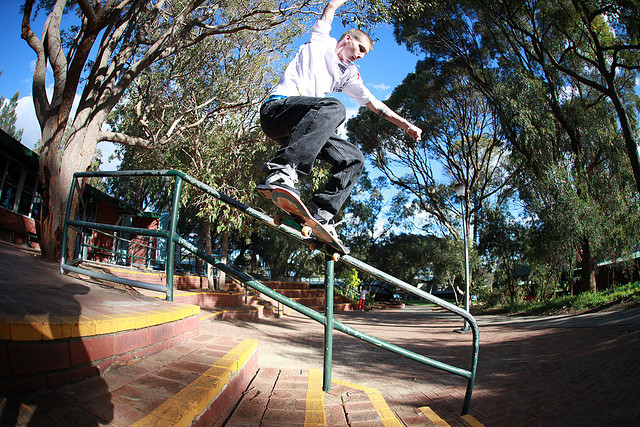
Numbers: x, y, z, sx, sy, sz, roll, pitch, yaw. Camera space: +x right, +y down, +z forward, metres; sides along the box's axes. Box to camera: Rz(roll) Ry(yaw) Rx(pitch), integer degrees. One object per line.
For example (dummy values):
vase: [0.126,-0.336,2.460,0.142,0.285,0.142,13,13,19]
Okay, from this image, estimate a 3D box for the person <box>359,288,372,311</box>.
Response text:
person: [2.753,5.627,25.162,0.396,1.479,1.363,10,0,9]

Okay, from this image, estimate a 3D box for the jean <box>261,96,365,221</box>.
jean: [-0.123,-0.750,4.932,1.354,1.543,0.477,11,1,-13]
